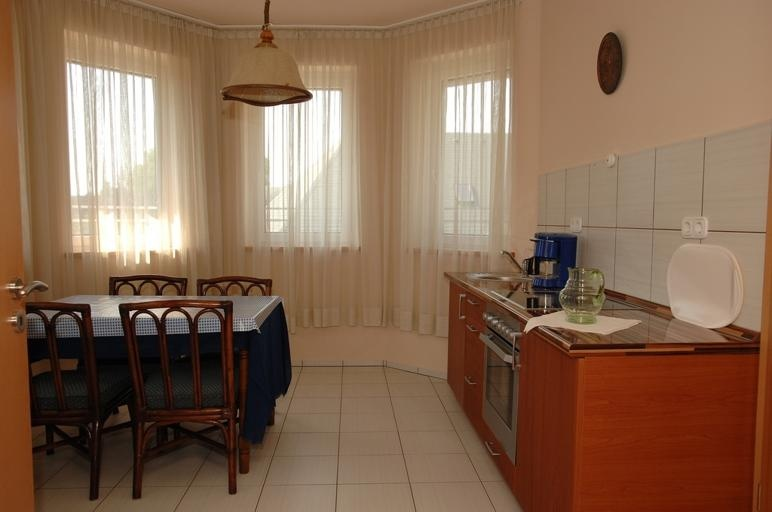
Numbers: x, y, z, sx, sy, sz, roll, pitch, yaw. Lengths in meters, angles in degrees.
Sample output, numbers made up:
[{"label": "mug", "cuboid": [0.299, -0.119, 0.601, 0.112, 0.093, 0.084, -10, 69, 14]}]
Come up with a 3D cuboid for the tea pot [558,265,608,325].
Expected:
[{"label": "tea pot", "cuboid": [1.040, 0.197, 2.982, 0.194, 0.303, 0.206, 4, 8, -1]}]

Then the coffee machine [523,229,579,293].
[{"label": "coffee machine", "cuboid": [1.184, 0.044, 3.980, 0.430, 0.576, 0.351, 1, 3, 2]}]

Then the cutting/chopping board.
[{"label": "cutting/chopping board", "cuboid": [1.674, 0.162, 2.877, 0.027, 0.407, 0.394, 0, 6, -25]}]
